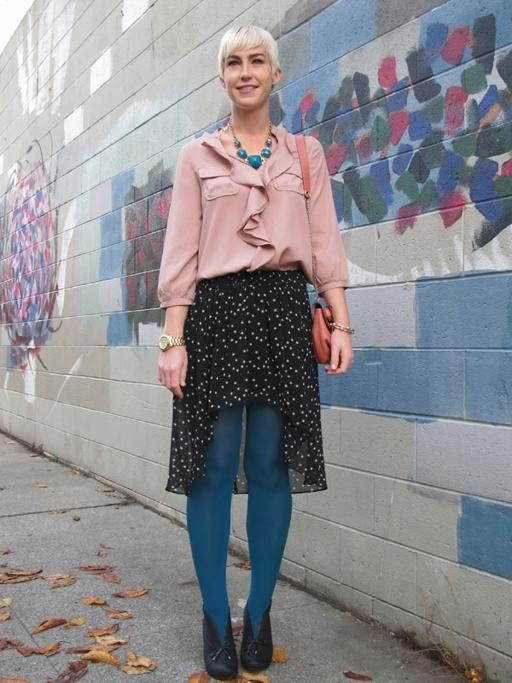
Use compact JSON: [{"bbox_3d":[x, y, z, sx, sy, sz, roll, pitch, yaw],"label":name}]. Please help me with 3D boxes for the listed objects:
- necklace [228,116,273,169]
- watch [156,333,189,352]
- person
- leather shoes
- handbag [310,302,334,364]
[{"bbox_3d":[-0.008,-0.550,1.496,0.101,0.173,0.062,-3,-29,-16],"label":"necklace"},{"bbox_3d":[-0.239,0.012,1.464,0.064,0.040,0.063,-5,-7,28],"label":"watch"},{"bbox_3d":[-0.026,0.052,1.502,0.485,1.767,0.379,4,-7,-30],"label":"person"},{"bbox_3d":[-0.064,0.854,1.538,0.133,0.079,0.216,-1,-7,-10],"label":"leather shoes"},{"bbox_3d":[0.187,-0.022,1.477,0.082,0.182,0.173,-1,-2,6],"label":"handbag"}]
